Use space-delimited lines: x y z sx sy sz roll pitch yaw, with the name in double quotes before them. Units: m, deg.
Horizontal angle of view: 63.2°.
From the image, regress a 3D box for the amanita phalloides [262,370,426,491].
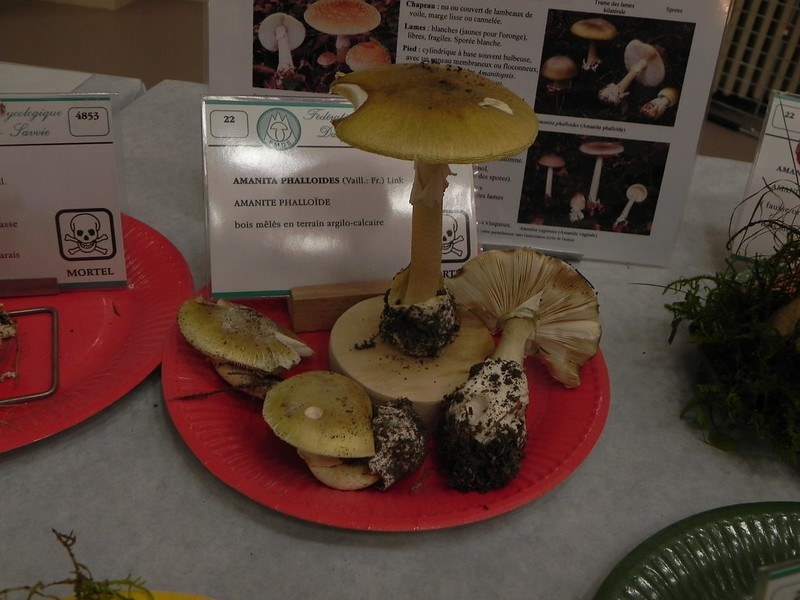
"amanita phalloides" -0.101 0.246 1.293 0.318 0.116 0.289 14 24 5
